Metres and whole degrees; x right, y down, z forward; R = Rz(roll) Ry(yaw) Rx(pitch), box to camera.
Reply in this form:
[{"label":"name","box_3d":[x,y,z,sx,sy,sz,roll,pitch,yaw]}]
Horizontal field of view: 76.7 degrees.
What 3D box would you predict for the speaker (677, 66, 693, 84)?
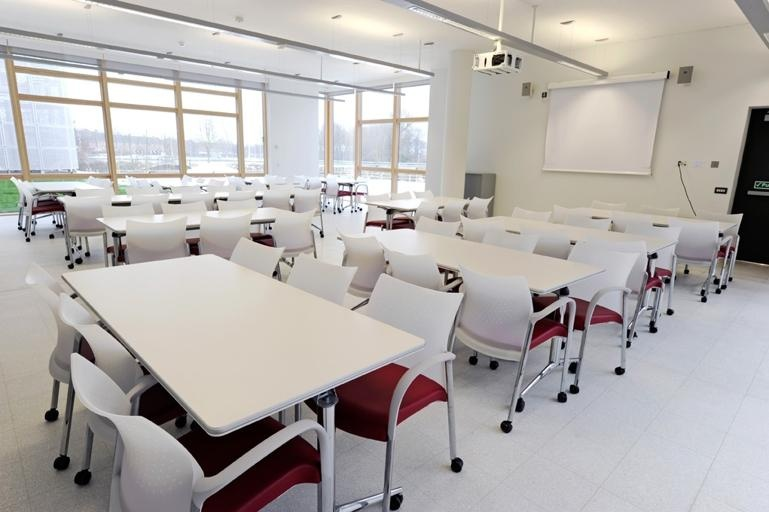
[{"label":"speaker","box_3d":[5.368,-3.238,8.696,0.233,0.295,0.089,6,16,25]}]
